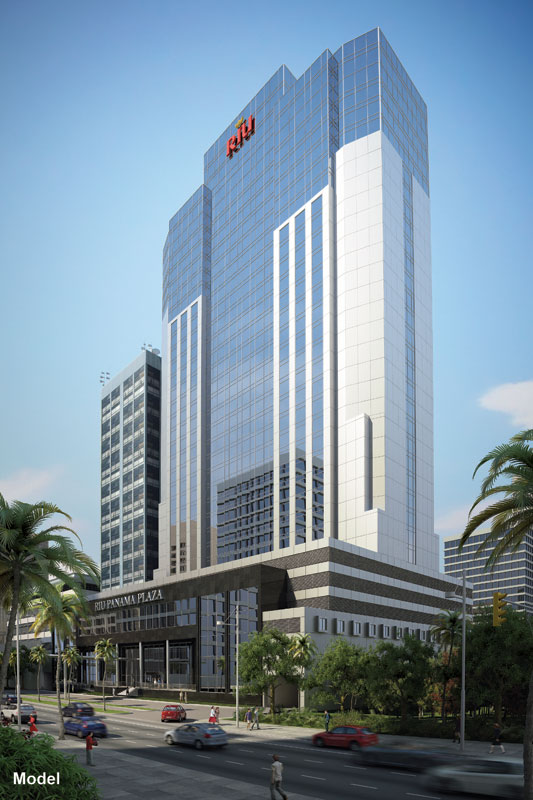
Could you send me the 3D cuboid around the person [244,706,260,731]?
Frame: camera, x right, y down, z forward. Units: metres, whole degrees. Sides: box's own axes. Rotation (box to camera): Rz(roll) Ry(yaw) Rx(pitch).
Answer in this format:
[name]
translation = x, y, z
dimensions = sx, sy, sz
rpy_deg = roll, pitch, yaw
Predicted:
[person]
translation = -0.979, 21.355, 68.489
dimensions = 0.782, 1.297, 2.492
rpy_deg = 0, -16, -5
